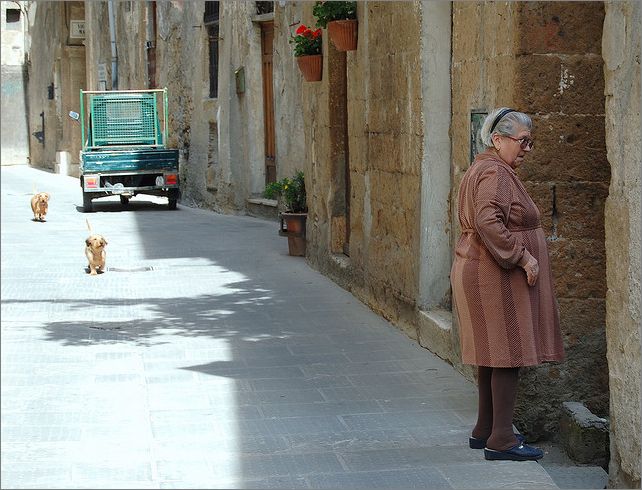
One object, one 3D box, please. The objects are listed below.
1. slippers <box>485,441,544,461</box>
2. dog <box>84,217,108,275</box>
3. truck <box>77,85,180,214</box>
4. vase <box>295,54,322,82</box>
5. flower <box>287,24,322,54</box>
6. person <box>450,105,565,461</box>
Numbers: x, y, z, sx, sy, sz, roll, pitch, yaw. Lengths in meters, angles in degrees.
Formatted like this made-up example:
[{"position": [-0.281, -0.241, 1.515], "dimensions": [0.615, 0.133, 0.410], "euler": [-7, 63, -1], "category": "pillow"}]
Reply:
[{"position": [1.154, 1.239, 5.104], "dimensions": [0.262, 0.090, 0.142], "euler": [-1, 0, -3], "category": "slippers"}, {"position": [-2.941, 0.109, 11.015], "dimensions": [0.241, 0.487, 0.488], "euler": [-1, 8, -13], "category": "dog"}, {"position": [-4.739, -2.385, 20.823], "dimensions": [2.282, 2.913, 3.165], "euler": [-1, 8, -12], "category": "truck"}, {"position": [-0.150, -2.213, 10.712], "dimensions": [0.258, 0.319, 0.352], "euler": [-2, 8, -15], "category": "vase"}, {"position": [-0.222, -2.534, 10.889], "dimensions": [0.455, 0.392, 0.465], "euler": [6, 36, -6], "category": "flower"}, {"position": [1.080, 0.260, 4.911], "dimensions": [0.645, 2.060, 0.423], "euler": [2, 8, 12], "category": "person"}]
